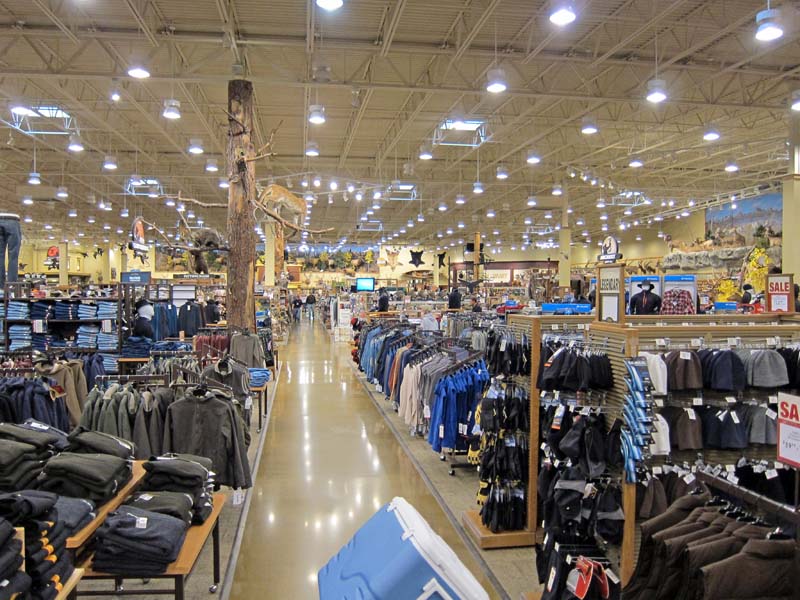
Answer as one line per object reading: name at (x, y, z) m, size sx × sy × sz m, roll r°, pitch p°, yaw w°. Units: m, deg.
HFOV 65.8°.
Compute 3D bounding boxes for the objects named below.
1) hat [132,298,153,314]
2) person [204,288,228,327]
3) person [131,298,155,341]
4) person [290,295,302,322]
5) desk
hat at (-3.889, 0.110, 9.339) m, size 0.190 × 0.248 × 0.083 m, roll 12°, pitch -3°, yaw -2°
person at (-4.045, 0.175, 13.523) m, size 0.629 × 0.948 × 0.477 m, roll 2°, pitch -5°, yaw -15°
person at (-3.914, 0.284, 9.356) m, size 0.550 × 0.774 × 0.228 m, roll -3°, pitch -6°, yaw 30°
person at (-5.126, 0.443, 30.464) m, size 0.387 × 1.331 × 1.172 m, roll -2°, pitch 7°, yaw -11°
desk at (-1.832, 1.870, 4.606) m, size 0.890 × 1.010 × 1.859 m, roll 6°, pitch -4°, yaw -10°
